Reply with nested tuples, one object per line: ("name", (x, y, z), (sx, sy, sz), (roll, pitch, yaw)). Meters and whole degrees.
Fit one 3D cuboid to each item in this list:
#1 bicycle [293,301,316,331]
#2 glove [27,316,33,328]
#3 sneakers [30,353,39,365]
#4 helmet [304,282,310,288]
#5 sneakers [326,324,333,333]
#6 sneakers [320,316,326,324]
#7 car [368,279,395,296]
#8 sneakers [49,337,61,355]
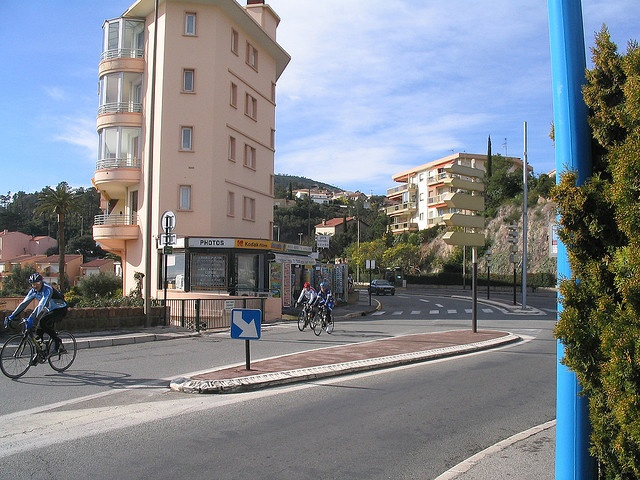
("bicycle", (-0.457, 2.671, 23.543), (0.529, 0.744, 1.155), (0, -10, 13))
("glove", (-5.736, 1.658, 13.790), (0.116, 0.253, 0.257), (0, 2, -10))
("sneakers", (-5.693, 2.415, 13.927), (0.059, 0.186, 0.188), (0, -43, 12))
("helmet", (-0.420, 1.522, 22.904), (0.156, 0.215, 0.211), (1, 8, 7))
("sneakers", (0.304, 2.863, 22.249), (0.199, 0.292, 0.261), (0, 2, -5))
("sneakers", (0.108, 2.545, 22.153), (0.159, 0.300, 0.092), (-1, 3, -27))
("car", (4.912, 3.993, 56.391), (1.483, 1.103, 2.564), (0, 2, -22))
("sneakers", (-5.412, 2.217, 14.242), (0.211, 0.262, 0.284), (6, -21, -22))
